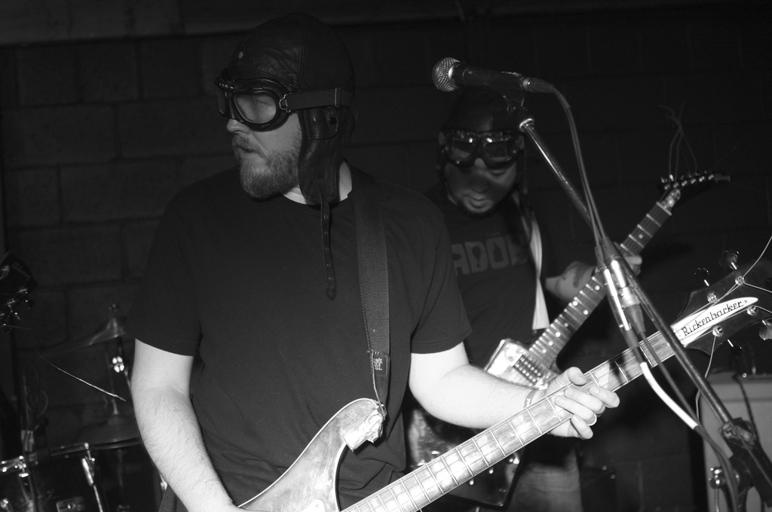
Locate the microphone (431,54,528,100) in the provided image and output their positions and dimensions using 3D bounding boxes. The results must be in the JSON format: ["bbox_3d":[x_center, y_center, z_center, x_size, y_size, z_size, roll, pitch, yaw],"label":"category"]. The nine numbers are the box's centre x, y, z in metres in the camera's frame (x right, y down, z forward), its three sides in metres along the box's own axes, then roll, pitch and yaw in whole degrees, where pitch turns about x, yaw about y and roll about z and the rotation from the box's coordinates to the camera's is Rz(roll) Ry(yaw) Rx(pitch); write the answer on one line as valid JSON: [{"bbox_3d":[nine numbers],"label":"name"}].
[{"bbox_3d":[0.310,-0.619,2.936,0.393,0.128,0.124,8,11,27],"label":"microphone"}]

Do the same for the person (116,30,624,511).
[{"bbox_3d":[-0.302,0.013,2.881,1.190,1.524,0.690,-9,22,-19],"label":"person"}]

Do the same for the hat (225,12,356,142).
[{"bbox_3d":[-0.326,-0.620,3.050,0.500,0.436,0.439,-15,25,-24],"label":"hat"}]

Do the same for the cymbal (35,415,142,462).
[{"bbox_3d":[-1.265,0.790,3.702,0.334,0.037,0.175,-13,43,2],"label":"cymbal"}]
